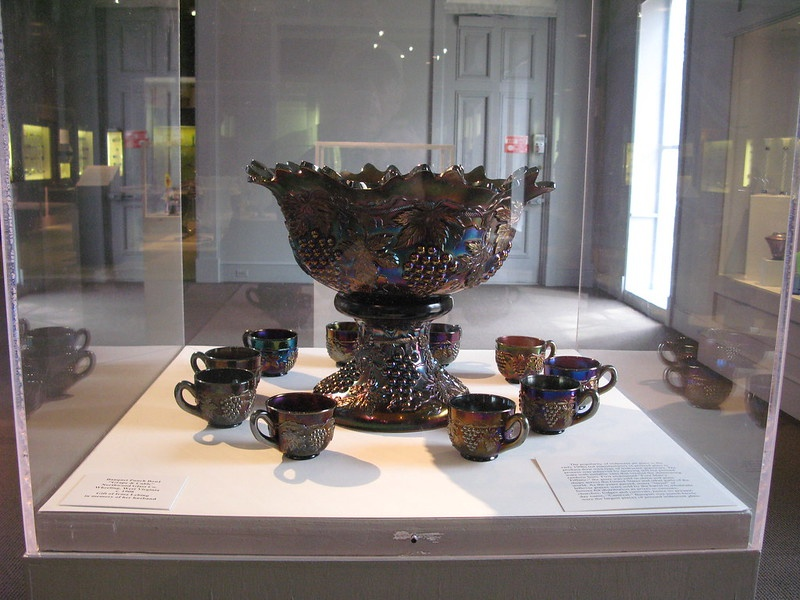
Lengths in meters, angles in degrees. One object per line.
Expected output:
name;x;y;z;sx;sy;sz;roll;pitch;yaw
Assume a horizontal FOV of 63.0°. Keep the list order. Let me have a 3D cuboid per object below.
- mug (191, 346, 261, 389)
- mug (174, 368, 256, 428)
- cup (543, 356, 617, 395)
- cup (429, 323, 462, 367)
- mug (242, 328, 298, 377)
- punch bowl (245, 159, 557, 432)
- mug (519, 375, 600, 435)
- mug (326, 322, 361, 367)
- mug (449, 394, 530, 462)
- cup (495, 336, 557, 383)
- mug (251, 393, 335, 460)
mug;-0.329;0.123;1.236;0.115;0.049;0.081;1;5;5
mug;-0.321;0.177;1.143;0.145;0.079;0.105;-1;5;-22
cup;0.346;0.164;1.256;0.129;0.078;0.091;2;-1;16
cup;0.098;0.093;1.401;0.081;0.071;0.092;1;-4;3
mug;-0.278;0.114;1.403;0.133;0.083;0.100;6;7;24
punch bowl;0.000;-0.037;1.252;0.548;0.394;0.513;2;6;0
mug;0.276;0.193;1.149;0.144;0.077;0.100;2;-3;14
mug;-0.119;0.087;1.396;0.088;0.082;0.099;1;-2;-1
mug;0.133;0.202;1.024;0.144;0.080;0.105;2;-2;-4
cup;0.274;0.132;1.395;0.137;0.088;0.100;-1;11;0
mug;-0.172;0.204;1.037;0.142;0.079;0.104;-4;8;-31
